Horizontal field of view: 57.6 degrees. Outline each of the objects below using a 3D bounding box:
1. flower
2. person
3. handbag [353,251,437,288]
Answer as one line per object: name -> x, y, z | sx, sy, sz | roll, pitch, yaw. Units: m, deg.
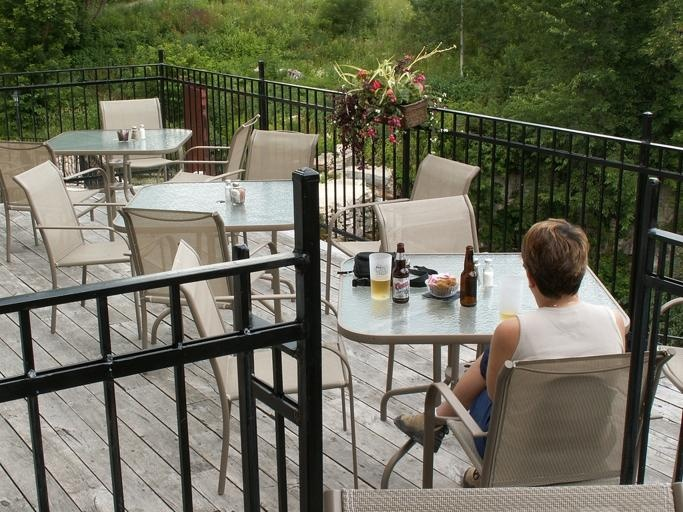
flower -> 0.360, -1.224, 5.246 | 0.887, 0.895, 0.433 | 0, 15, -2
person -> 0.745, 0.409, 2.648 | 0.653, 1.170, 0.988 | 2, 8, -11
handbag -> 0.240, 0.042, 3.082 | 0.279, 0.112, 0.214 | 2, 5, 5
